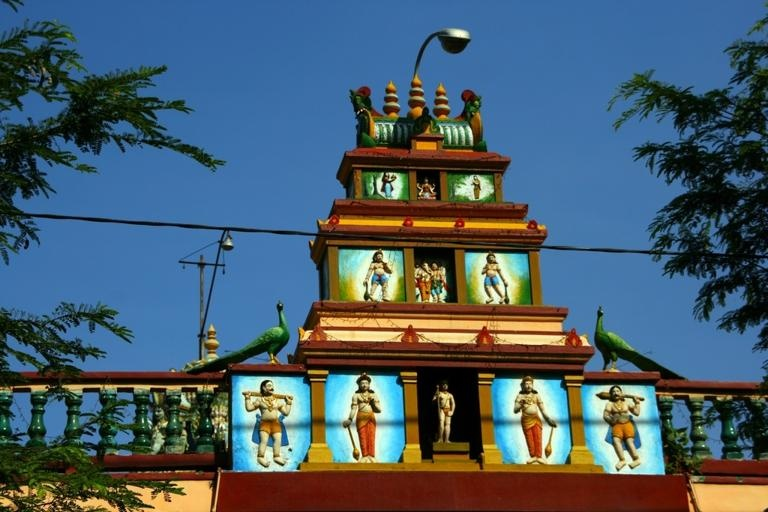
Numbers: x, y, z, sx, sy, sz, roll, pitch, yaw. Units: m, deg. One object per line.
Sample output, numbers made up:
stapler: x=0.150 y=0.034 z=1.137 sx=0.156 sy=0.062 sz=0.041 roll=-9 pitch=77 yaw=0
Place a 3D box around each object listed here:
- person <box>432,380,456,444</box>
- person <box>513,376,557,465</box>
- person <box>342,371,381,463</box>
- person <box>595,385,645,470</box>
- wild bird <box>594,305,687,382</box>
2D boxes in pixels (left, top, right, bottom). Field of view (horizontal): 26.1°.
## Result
person: x=1.095 y=2.791 z=29.554 sx=0.356 sy=1.181 sz=0.343 roll=-2 pitch=-28 yaw=5
person: x=2.716 y=2.903 z=29.432 sx=0.691 sy=1.509 sz=0.373 roll=21 pitch=-34 yaw=-33
person: x=-0.358 y=2.802 z=29.056 sx=0.640 sy=1.534 sz=0.328 roll=1 pitch=-28 yaw=0
person: x=4.284 y=3.043 z=29.536 sx=0.770 sy=1.472 sz=0.368 roll=2 pitch=-28 yaw=-2
wild bird: x=4.670 y=1.727 z=30.476 sx=1.688 sy=1.274 sz=0.513 roll=16 pitch=-29 yaw=-1
